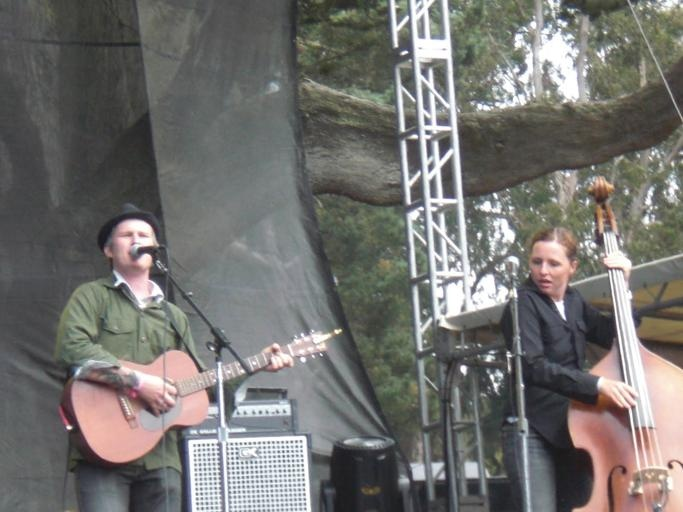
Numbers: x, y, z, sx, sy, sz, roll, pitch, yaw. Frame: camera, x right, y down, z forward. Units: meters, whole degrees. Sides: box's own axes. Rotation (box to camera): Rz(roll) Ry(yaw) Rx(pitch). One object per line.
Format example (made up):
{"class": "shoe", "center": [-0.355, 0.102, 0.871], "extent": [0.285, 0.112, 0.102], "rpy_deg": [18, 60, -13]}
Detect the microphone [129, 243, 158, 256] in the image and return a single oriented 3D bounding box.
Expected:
{"class": "microphone", "center": [-1.504, -0.034, 10.444], "extent": [0.084, 0.086, 0.251], "rpy_deg": [-22, 6, -34]}

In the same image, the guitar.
{"class": "guitar", "center": [-1.311, 1.126, 10.435], "extent": [1.575, 0.830, 0.369], "rpy_deg": [1, -14, -26]}
